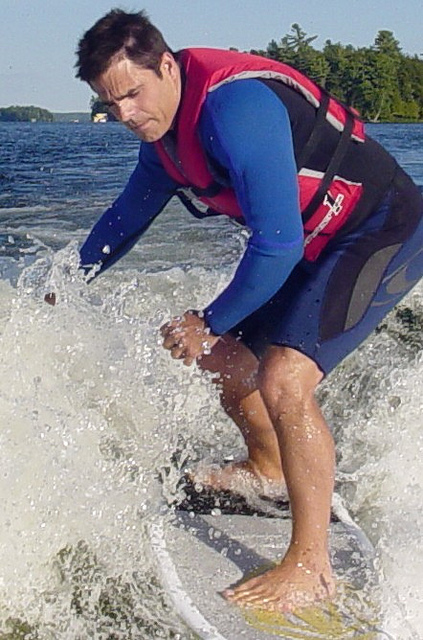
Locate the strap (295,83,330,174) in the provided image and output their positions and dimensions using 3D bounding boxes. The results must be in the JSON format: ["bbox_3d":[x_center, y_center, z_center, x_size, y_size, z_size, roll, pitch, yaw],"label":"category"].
[{"bbox_3d":[0.289,-0.542,1.895,0.062,0.215,0.182,20,6,-15],"label":"strap"}]
